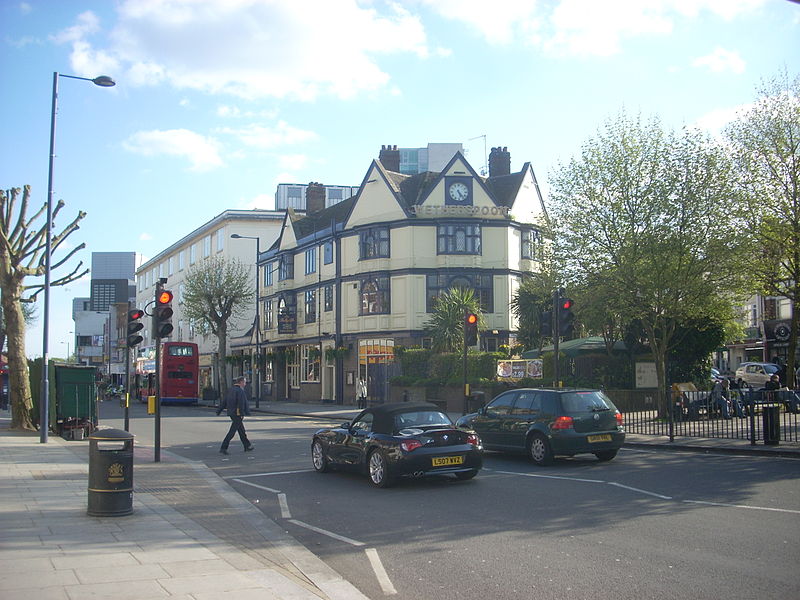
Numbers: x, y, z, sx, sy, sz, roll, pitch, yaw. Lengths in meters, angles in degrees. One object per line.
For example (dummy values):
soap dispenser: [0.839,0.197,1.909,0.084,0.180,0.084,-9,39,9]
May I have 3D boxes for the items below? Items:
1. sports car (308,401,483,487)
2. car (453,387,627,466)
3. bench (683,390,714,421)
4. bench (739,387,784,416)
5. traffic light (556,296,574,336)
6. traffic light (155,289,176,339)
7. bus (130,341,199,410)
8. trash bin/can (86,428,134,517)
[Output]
sports car: [-0.209,3.179,21.065,2.443,1.822,4.949,2,-4,-29]
car: [3.395,3.055,22.373,1.920,1.492,3.392,4,-2,-35]
bench: [9.172,3.189,28.118,0.960,0.722,1.054,0,-8,-6]
bench: [10.170,2.862,25.745,1.098,0.793,1.175,0,-9,-16]
traffic light: [4.826,0.394,26.582,0.386,1.124,1.270,-2,-7,15]
traffic light: [-5.749,0.291,22.332,0.445,1.331,1.310,1,-6,-15]
bus: [-13.483,4.330,53.078,3.298,4.731,4.758,3,-5,-24]
trash bin/can: [-5.026,3.077,16.281,0.777,1.567,0.836,6,-1,-33]
